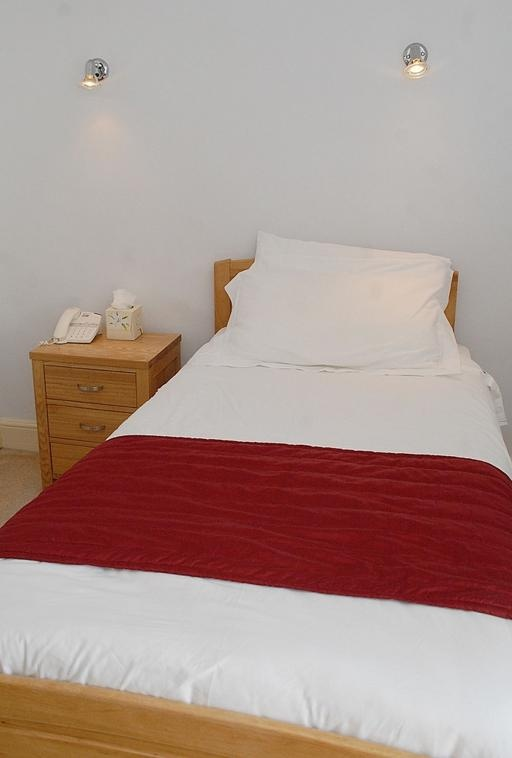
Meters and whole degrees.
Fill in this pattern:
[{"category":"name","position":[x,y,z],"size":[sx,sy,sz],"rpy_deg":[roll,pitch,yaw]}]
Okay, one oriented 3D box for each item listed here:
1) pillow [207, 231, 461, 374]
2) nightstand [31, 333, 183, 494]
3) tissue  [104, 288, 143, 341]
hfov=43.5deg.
[{"category":"pillow","position":[0.324,-0.278,2.290],"size":[0.741,0.504,0.197],"rpy_deg":[4,-27,10]},{"category":"nightstand","position":[-0.565,0.108,2.791],"size":[0.537,0.567,0.514],"rpy_deg":[4,17,10]},{"category":"tissue ","position":[-0.565,-0.291,2.721],"size":[0.135,0.227,0.120],"rpy_deg":[-1,20,-12]}]
